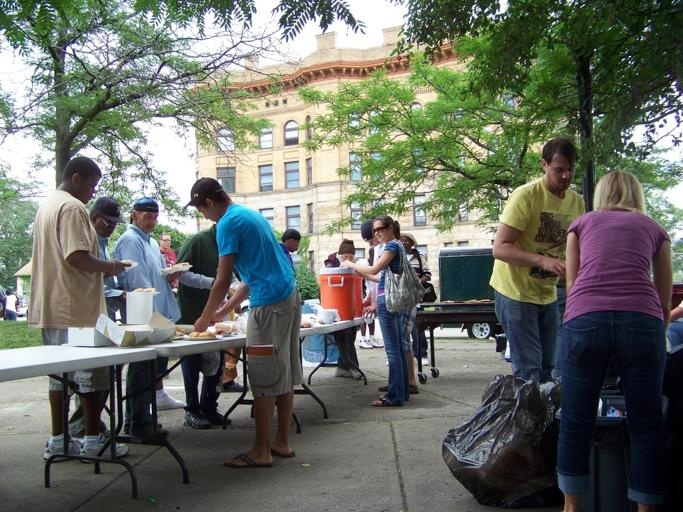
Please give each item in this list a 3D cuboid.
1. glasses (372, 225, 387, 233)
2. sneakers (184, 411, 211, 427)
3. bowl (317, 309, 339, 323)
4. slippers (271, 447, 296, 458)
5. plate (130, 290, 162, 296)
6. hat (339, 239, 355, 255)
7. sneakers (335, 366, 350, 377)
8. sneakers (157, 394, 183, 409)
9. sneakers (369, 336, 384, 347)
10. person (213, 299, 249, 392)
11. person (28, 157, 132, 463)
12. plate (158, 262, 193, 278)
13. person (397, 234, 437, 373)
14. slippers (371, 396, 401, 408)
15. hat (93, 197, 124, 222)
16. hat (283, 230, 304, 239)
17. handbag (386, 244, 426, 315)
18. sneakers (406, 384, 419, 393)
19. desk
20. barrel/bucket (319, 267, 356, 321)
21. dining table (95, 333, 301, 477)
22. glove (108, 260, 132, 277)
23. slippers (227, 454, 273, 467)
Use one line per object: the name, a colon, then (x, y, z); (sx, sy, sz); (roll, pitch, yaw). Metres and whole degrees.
glasses: (0.425, -0.316, 7.079); (0.124, 0.038, 0.124); (7, -12, -39)
sneakers: (-1.420, 1.622, 6.368); (0.276, 0.119, 0.120); (-2, -4, 31)
bowl: (-0.159, 0.650, 7.039); (0.195, 0.160, 0.534); (-3, -4, 5)
slippers: (-0.471, 1.605, 5.246); (0.205, 0.069, 0.075); (5, -4, 17)
plate: (-1.531, 0.272, 5.053); (0.142, 0.056, 0.391); (-2, -4, -5)
hat: (0.063, -0.126, 8.121); (0.198, 0.189, 0.183); (10, -7, -37)
sneakers: (0.017, 1.710, 9.449); (0.224, 0.089, 0.104); (-2, -5, 21)
sneakers: (-1.929, 1.665, 7.333); (0.347, 0.147, 0.116); (2, -2, -26)
sneakers: (0.773, 1.946, 14.405); (0.166, 0.201, 0.474); (0, -8, -23)
person: (-1.067, 0.871, 6.158); (0.443, 0.385, 1.218); (-19, 11, -9)
person: (-2.177, 0.405, 5.311); (0.870, 2.483, 0.865); (-5, -5, 21)
plate: (-1.393, 0.125, 5.493); (0.186, 0.066, 0.170); (-7, -4, 33)
person: (0.951, 0.557, 9.061); (0.672, 1.834, 0.544); (1, -7, -37)
slippers: (0.491, 1.606, 7.048); (0.304, 0.091, 0.118); (3, -11, 8)
hat: (-2.107, -0.436, 5.852); (0.287, 0.166, 0.202); (18, 2, 11)
hat: (-0.583, -0.267, 7.562); (0.154, 0.137, 0.116); (-10, 6, -17)
handbag: (0.660, 0.257, 6.999); (0.252, 0.795, 0.542); (-9, -8, 14)
sneakers: (0.842, 1.577, 7.622); (0.135, 0.157, 0.403); (-3, -12, 7)
desk: (1.521, 1.328, 8.894); (1.710, 1.111, 0.933); (-1, -7, 1)
barrel/bucket: (-0.035, 0.463, 7.642); (0.569, 0.576, 0.545); (-1, -5, 0)
dining table: (-1.189, 0.991, 4.879); (0.676, 0.773, 1.221); (-5, 4, 22)
glove: (-1.748, 0.074, 5.103); (0.094, 0.158, 0.143); (15, 46, 23)
slippers: (-0.727, 1.604, 4.991); (0.304, 0.078, 0.137); (6, -13, -6)
